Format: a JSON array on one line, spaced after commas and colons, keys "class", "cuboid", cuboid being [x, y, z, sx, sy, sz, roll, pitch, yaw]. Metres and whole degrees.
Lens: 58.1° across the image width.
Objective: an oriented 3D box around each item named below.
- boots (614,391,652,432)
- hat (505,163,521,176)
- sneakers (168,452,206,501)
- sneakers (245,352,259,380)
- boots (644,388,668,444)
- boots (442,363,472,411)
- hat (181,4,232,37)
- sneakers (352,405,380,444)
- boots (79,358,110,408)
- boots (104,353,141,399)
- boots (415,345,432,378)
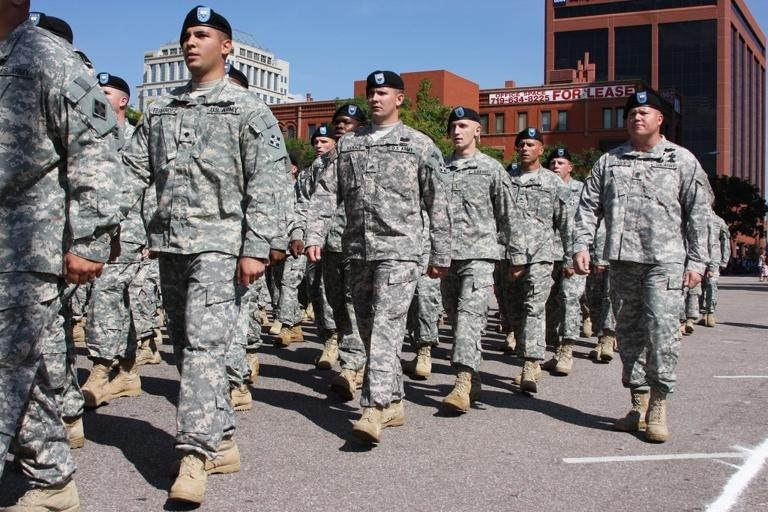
[{"class": "boots", "cuboid": [2.420, 1.493, 6.704, 0.409, 0.337, 0.166, -3, 8, -24]}, {"class": "hat", "cuboid": [1.913, -1.226, 10.100, 0.223, 0.084, 0.278, -7, 28, 15]}, {"class": "sneakers", "cuboid": [-1.321, 1.512, 4.655, 0.232, 0.309, 0.238, -1, 7, -13]}, {"class": "sneakers", "cuboid": [-1.416, 1.183, 7.377, 0.221, 0.222, 0.614, -5, -8, -9]}, {"class": "boots", "cuboid": [2.524, 1.455, 6.391, 0.190, 0.399, 0.455, 6, 16, 10]}, {"class": "boots", "cuboid": [0.779, 1.339, 7.061, 0.238, 0.389, 0.641, 1, 0, 25]}, {"class": "hat", "cuboid": [-1.329, -1.729, 5.180, 0.364, 0.229, 0.275, -1, 7, -15]}, {"class": "sneakers", "cuboid": [-0.139, 1.426, 5.849, 0.225, 0.245, 0.273, 1, 6, 2]}, {"class": "boots", "cuboid": [-2.811, 1.217, 6.670, 0.238, 0.424, 0.473, -3, 1, 3]}, {"class": "boots", "cuboid": [-2.675, 1.239, 7.035, 0.455, 0.376, 0.184, -5, -2, 3]}, {"class": "boots", "cuboid": [0.504, 1.334, 8.995, 0.217, 0.381, 0.612, 0, 2, 8]}]
